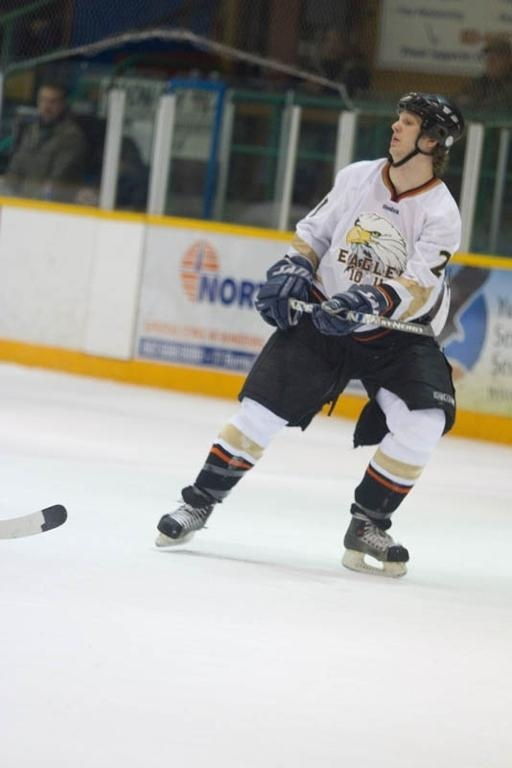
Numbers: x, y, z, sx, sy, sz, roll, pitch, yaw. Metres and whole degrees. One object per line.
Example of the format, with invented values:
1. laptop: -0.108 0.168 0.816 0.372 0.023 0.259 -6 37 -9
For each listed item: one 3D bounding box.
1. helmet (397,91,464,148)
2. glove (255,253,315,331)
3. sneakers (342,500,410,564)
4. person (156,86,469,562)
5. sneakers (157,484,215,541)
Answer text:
1. helmet: 0.389 -0.599 1.826 0.165 0.137 0.113 4 20 -12
2. glove: 0.078 -0.210 1.796 0.117 0.174 0.071 -12 -45 28
3. sneakers: 0.287 0.361 1.888 0.060 0.110 0.167 6 -3 -39
4. person: 0.186 -0.107 1.812 0.635 0.772 0.384 10 6 -5
5. sneakers: -0.164 0.288 1.890 0.069 0.080 0.199 25 24 16
